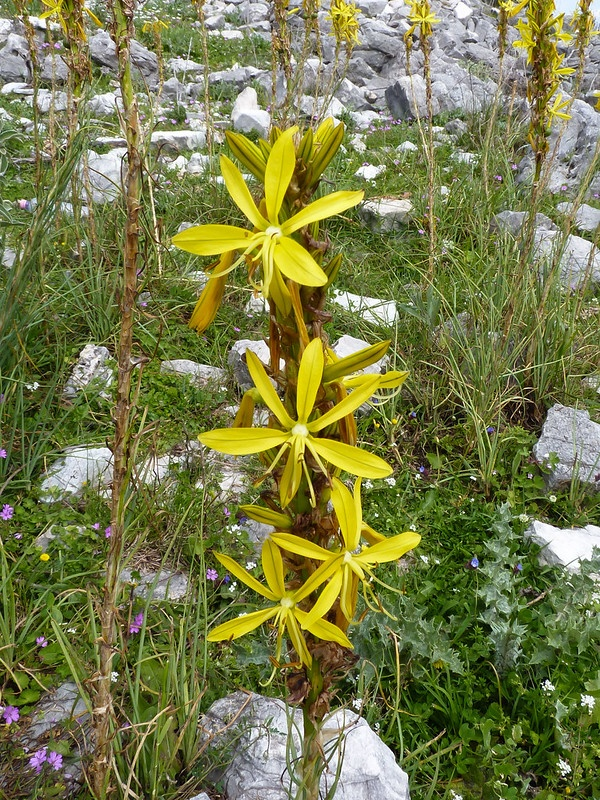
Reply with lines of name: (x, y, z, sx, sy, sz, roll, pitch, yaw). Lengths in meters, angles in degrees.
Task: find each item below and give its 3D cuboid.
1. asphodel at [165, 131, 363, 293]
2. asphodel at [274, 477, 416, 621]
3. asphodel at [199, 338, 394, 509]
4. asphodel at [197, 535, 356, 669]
asphodel: (-0.048, -0.285, 1.125, 0.245, 0.246, 0.165, 15, 25, 15)
asphodel: (0.074, 0.260, 1.264, 0.272, 0.180, 0.273, 14, 3, 3)
asphodel: (-0.014, 0.015, 1.291, 0.274, 0.274, 0.175, 23, 7, -6)
asphodel: (-0.053, 0.385, 1.343, 0.244, 0.165, 0.253, -2, 49, -14)
